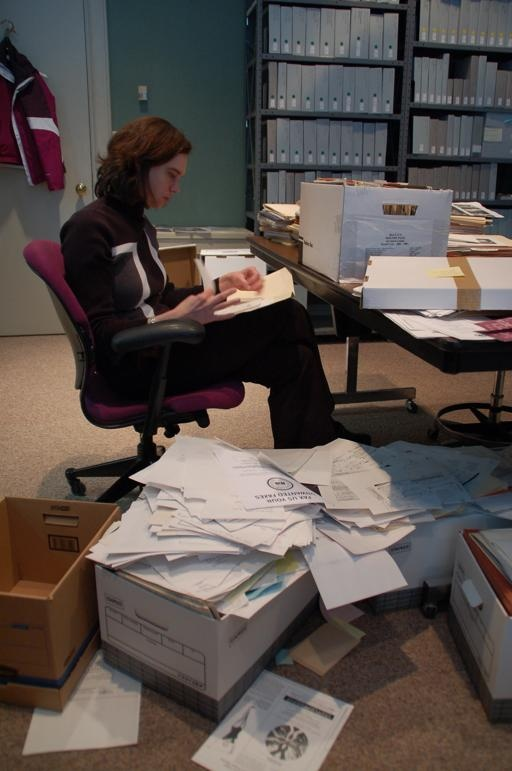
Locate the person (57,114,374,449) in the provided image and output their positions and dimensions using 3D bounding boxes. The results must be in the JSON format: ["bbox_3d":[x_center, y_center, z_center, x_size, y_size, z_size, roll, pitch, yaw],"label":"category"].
[{"bbox_3d":[-0.110,-0.213,1.456,0.696,0.899,0.377,-7,14,-7],"label":"person"}]

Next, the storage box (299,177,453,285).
[{"bbox_3d":[0.294,-0.328,1.376,0.310,0.213,0.312,-2,18,-18],"label":"storage box"}]
